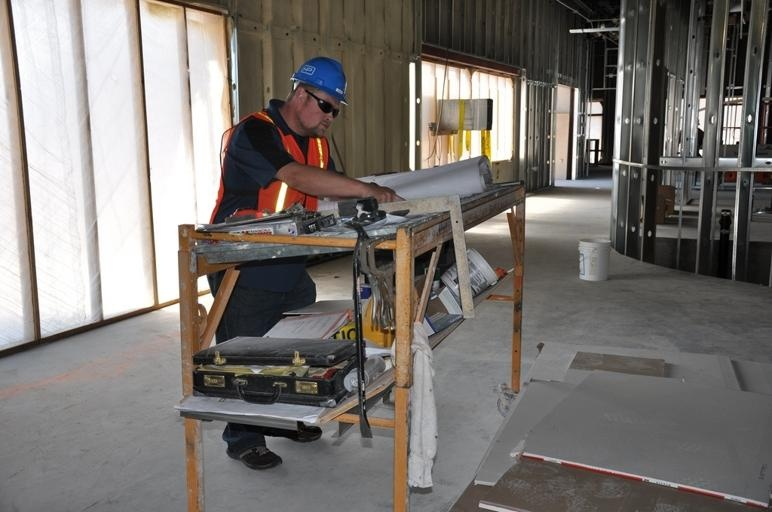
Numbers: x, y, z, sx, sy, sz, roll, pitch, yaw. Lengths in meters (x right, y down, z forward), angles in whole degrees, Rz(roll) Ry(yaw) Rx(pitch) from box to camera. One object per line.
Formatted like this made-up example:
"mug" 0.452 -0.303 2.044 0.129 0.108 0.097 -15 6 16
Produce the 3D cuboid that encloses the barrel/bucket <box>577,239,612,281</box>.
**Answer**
"barrel/bucket" 2.576 0.048 7.661 0.466 0.499 0.445 -1 9 0

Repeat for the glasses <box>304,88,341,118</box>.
"glasses" -0.365 -0.877 3.612 0.173 0.053 0.135 46 12 34

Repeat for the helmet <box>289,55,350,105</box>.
"helmet" -0.391 -1.054 3.617 0.295 0.160 0.247 28 23 14
